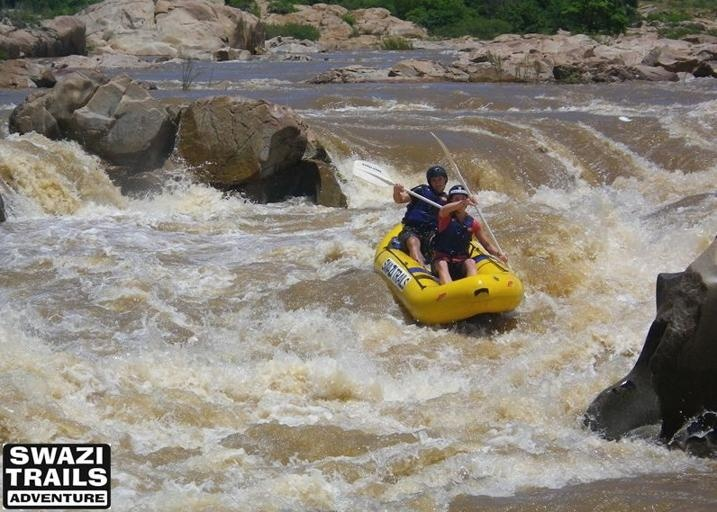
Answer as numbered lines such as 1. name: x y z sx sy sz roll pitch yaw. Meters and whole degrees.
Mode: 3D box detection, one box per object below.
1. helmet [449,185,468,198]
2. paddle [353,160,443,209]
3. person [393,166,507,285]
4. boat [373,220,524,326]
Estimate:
1. helmet: 1.487 -0.948 13.292 0.305 0.184 0.416 0 -3 6
2. paddle: 0.604 -1.242 14.435 0.547 0.120 2.291 -46 40 -17
3. person: 1.313 -0.486 13.609 1.290 1.124 2.096 2 21 -19
4. boat: 1.327 0.229 14.136 1.780 0.912 2.847 -9 26 -19
